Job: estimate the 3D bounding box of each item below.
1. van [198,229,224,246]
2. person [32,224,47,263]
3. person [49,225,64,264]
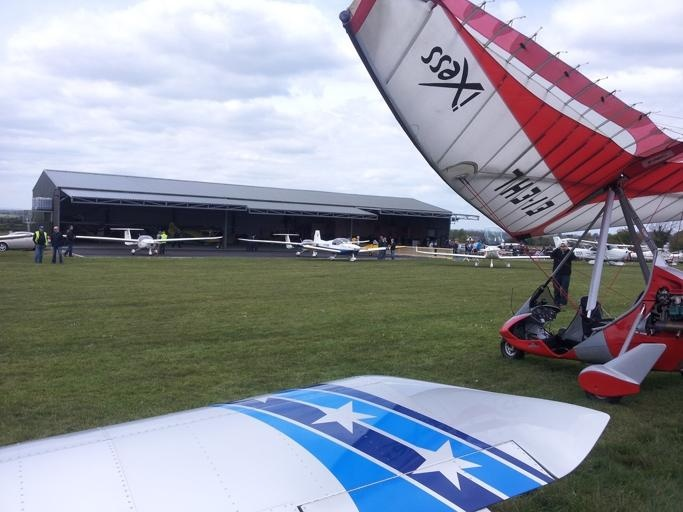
[{"bbox_3d":[-12.706,-1.555,43.324,2.509,0.947,2.115,0,-15,-4],"label":"van"},{"bbox_3d":[-13.189,-0.429,19.178,0.381,1.525,1.204,0,1,-34],"label":"person"},{"bbox_3d":[-12.689,-0.468,19.563,0.435,1.627,1.236,0,1,-33],"label":"person"}]
